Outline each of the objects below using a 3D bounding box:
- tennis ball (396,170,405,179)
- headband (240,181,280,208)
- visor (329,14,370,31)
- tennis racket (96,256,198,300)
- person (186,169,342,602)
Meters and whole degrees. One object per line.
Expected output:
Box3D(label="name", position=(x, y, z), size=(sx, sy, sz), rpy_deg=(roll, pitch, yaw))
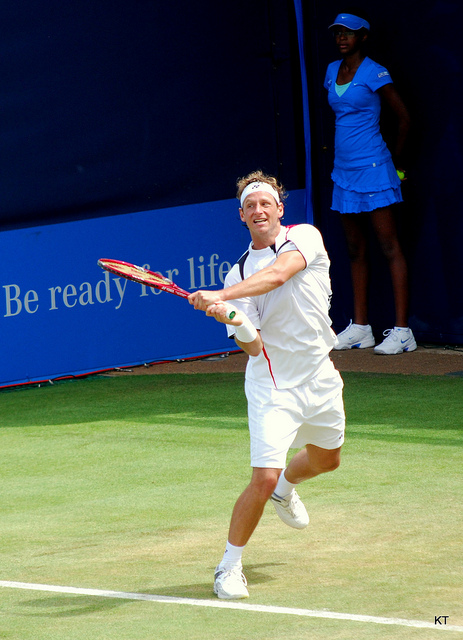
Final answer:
Box3D(label="tennis ball", position=(1.600, -1.378, 7.272), size=(0.048, 0.083, 0.020), rpy_deg=(-26, -20, -20))
Box3D(label="headband", position=(0.101, -0.446, 2.704), size=(0.140, 0.087, 0.145), rpy_deg=(-5, 3, -4))
Box3D(label="visor", position=(1.105, -2.753, 7.093), size=(0.368, 0.166, 0.155), rpy_deg=(-5, 3, -7))
Box3D(label="tennis racket", position=(-0.684, -0.317, 5.816), size=(0.344, 0.052, 1.222), rpy_deg=(-4, 17, -39))
Box3D(label="person", position=(0.123, 0.179, 2.644), size=(0.393, 1.398, 0.760), rpy_deg=(-5, 4, 22))
